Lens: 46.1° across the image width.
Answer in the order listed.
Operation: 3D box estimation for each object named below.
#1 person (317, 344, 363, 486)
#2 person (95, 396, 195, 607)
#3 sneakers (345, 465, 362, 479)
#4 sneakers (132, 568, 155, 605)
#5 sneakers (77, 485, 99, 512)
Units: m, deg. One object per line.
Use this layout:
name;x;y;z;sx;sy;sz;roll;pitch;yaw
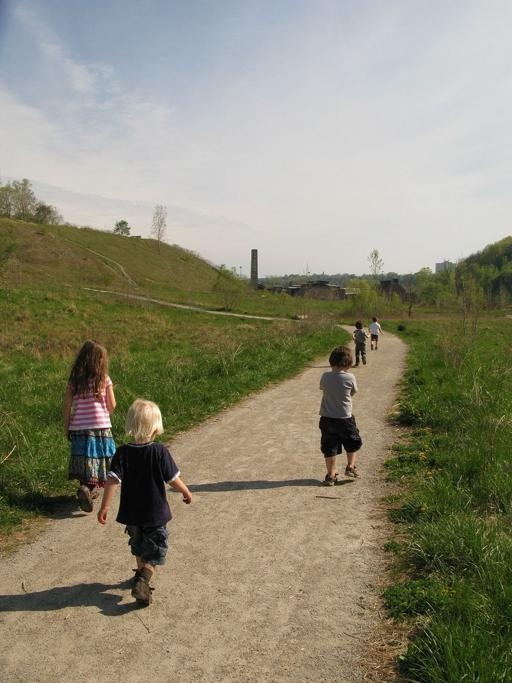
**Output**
person;0.956;0.813;6.963;0.462;1.502;0.809;-2;6;7
person;-0.851;1.167;4.612;0.642;1.410;0.758;-6;6;-24
sneakers;1.109;1.497;6.906;0.202;0.141;0.092;10;-5;-37
sneakers;-0.837;1.793;4.364;0.144;0.243;0.236;-6;33;4
sneakers;-1.713;1.604;6.139;0.102;0.298;0.204;-6;4;-2
